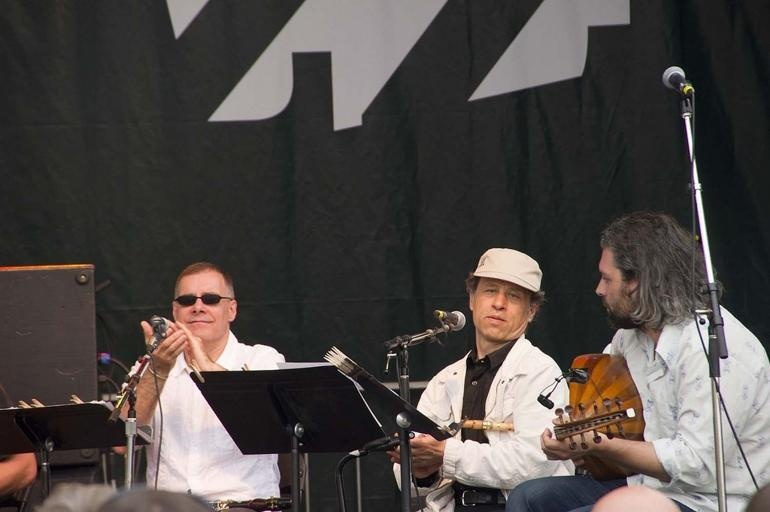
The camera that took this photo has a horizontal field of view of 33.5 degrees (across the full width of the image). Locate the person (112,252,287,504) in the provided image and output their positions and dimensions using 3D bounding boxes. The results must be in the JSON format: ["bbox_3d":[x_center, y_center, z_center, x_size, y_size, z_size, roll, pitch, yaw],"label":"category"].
[{"bbox_3d":[-1.193,0.847,8.342,0.989,1.687,0.741,-3,-9,-11],"label":"person"}]

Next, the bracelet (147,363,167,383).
[{"bbox_3d":[-1.433,0.749,8.096,0.125,0.122,0.234,-3,-11,-13],"label":"bracelet"}]

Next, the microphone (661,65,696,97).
[{"bbox_3d":[1.844,-1.071,7.992,0.156,0.246,0.291,-7,-10,12],"label":"microphone"}]

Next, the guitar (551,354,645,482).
[{"bbox_3d":[1.342,1.123,7.976,0.731,0.162,0.752,-42,-15,-20],"label":"guitar"}]

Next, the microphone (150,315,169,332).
[{"bbox_3d":[-1.396,0.424,7.935,0.112,0.106,0.131,-3,-10,-12],"label":"microphone"}]
